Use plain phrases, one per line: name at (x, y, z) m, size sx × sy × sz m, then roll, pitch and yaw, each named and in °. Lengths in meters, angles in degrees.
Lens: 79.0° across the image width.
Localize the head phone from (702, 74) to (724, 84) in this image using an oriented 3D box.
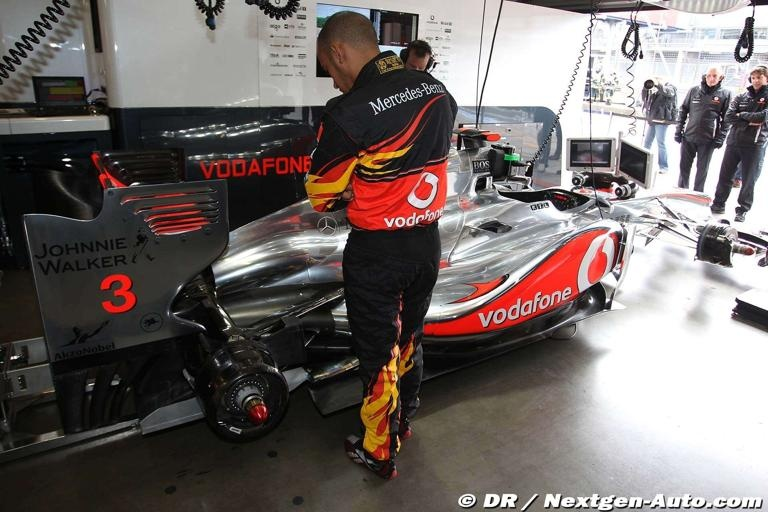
head phone at (4.358, -2.336, 6.128) m, size 0.178 × 0.149 × 0.133 m, roll 7°, pitch -1°, yaw -33°

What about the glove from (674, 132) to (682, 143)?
glove at (4.218, -1.689, 6.617) m, size 0.121 × 0.103 × 0.101 m, roll 1°, pitch 5°, yaw -20°

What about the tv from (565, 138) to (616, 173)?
tv at (1.976, -0.958, 4.376) m, size 0.611 × 0.421 × 0.116 m, roll 1°, pitch 4°, yaw 10°

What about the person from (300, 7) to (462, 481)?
person at (-0.051, -0.037, 2.345) m, size 0.642 × 2.173 × 0.758 m, roll 8°, pitch 22°, yaw 19°

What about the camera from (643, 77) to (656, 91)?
camera at (3.829, -2.475, 6.680) m, size 0.093 × 0.141 × 0.149 m, roll -9°, pitch 22°, yaw -22°

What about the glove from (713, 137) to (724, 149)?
glove at (4.475, -1.506, 6.198) m, size 0.110 × 0.103 × 0.109 m, roll 9°, pitch 28°, yaw 14°

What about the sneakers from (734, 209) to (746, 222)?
sneakers at (4.443, -0.496, 5.769) m, size 0.094 × 0.114 × 0.283 m, roll 4°, pitch -1°, yaw 33°
